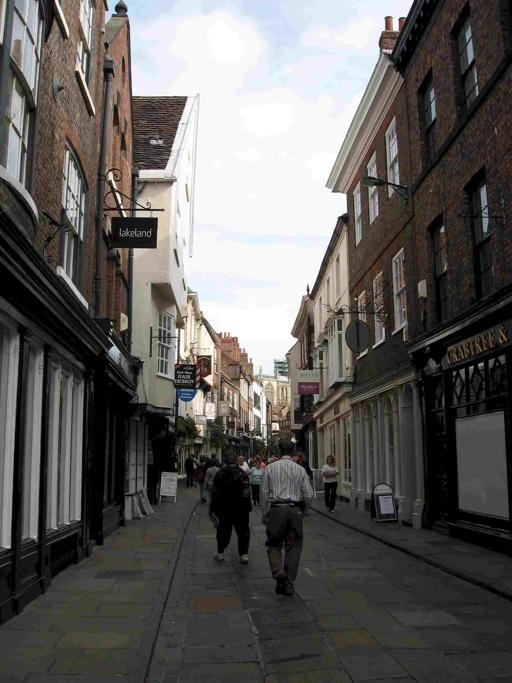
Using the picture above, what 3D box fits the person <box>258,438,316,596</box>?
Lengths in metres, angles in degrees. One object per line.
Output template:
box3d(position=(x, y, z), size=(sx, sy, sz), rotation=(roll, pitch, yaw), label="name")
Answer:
box3d(position=(0.337, 1.880, 6.514), size=(0.560, 1.583, 0.706), rotation=(1, -7, -5), label="person")

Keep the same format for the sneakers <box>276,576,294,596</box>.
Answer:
box3d(position=(0.286, 2.510, 6.200), size=(0.180, 0.220, 0.239), rotation=(0, -9, 7), label="sneakers")
